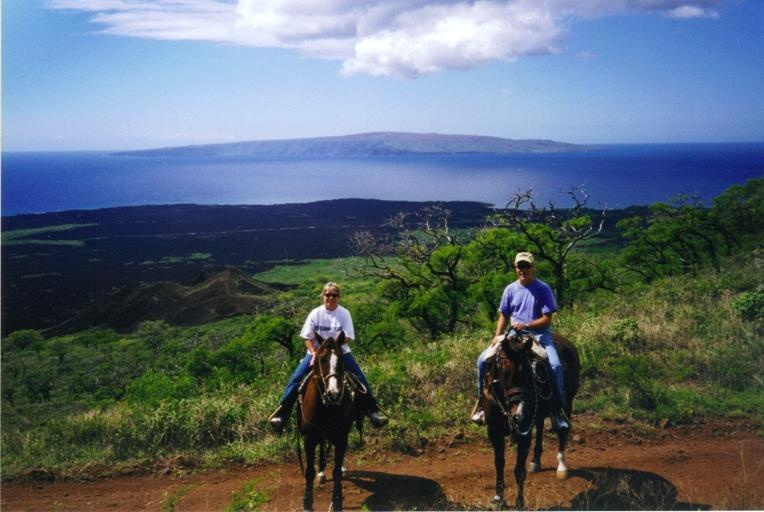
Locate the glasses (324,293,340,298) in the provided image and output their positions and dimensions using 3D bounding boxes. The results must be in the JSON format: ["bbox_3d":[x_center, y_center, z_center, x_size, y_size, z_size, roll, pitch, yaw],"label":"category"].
[{"bbox_3d":[-1.941,1.537,24.996,0.546,0.133,0.150,-2,-1,-5],"label":"glasses"}]
